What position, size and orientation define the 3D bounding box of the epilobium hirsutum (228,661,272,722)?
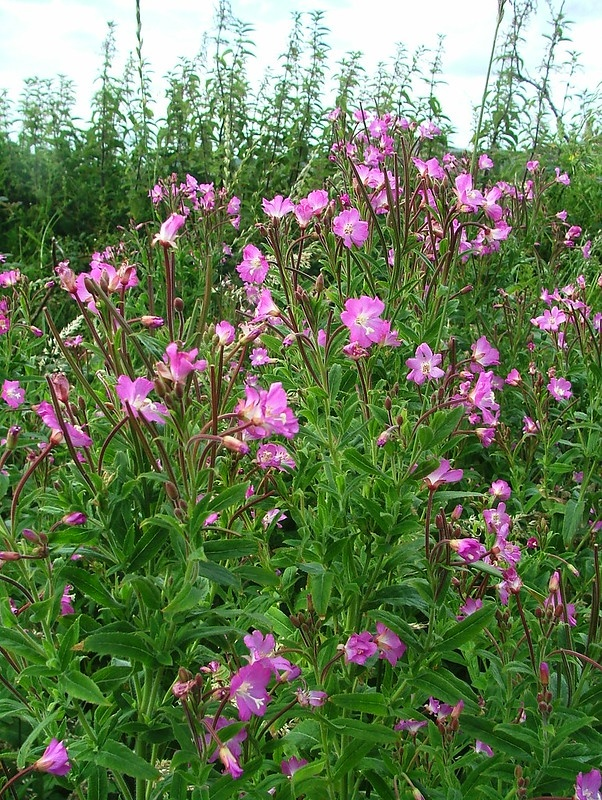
[{"bbox_3d":[-0.092,0.526,1.347,0.111,0.098,0.106,3,-11,-10],"label":"epilobium hirsutum"}]
